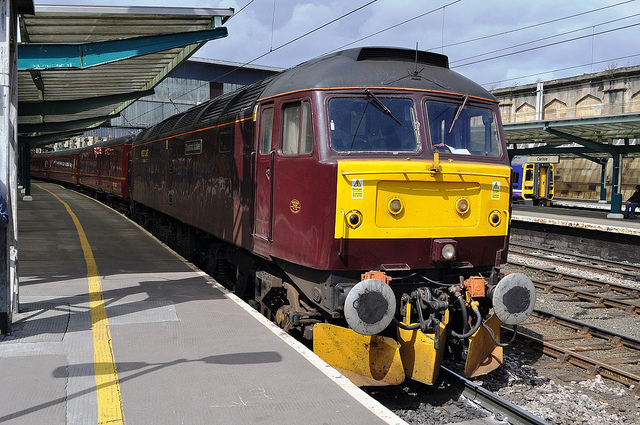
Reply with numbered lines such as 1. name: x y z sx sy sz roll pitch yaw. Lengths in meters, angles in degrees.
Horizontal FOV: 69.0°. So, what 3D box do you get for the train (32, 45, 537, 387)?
1. train: -2.941 -0.613 14.566 3.828 5.095 19.507 0 4 -24
